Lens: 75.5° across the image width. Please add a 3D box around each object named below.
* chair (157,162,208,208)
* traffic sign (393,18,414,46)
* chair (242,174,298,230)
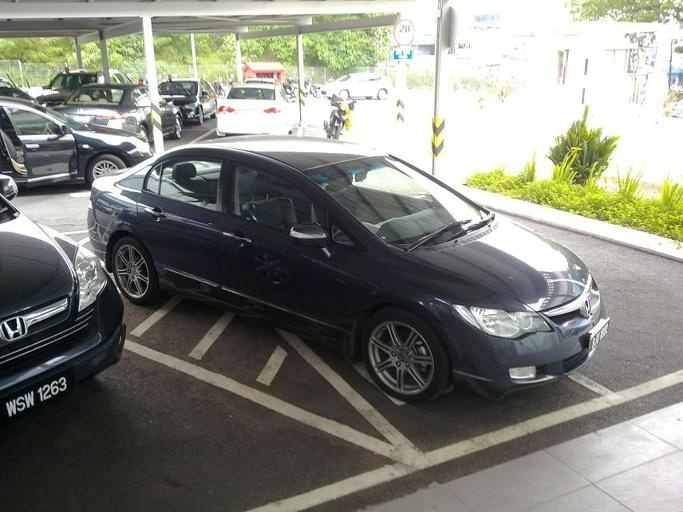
[{"bbox_3d":[-1.724,-0.797,5.028,0.657,0.323,0.449,22,32,20],"label":"chair"},{"bbox_3d":[1.552,-5.695,11.166,0.511,0.593,0.471,4,21,5],"label":"traffic sign"},{"bbox_3d":[-0.657,-0.479,4.578,0.609,0.655,0.470,4,4,22],"label":"chair"}]
